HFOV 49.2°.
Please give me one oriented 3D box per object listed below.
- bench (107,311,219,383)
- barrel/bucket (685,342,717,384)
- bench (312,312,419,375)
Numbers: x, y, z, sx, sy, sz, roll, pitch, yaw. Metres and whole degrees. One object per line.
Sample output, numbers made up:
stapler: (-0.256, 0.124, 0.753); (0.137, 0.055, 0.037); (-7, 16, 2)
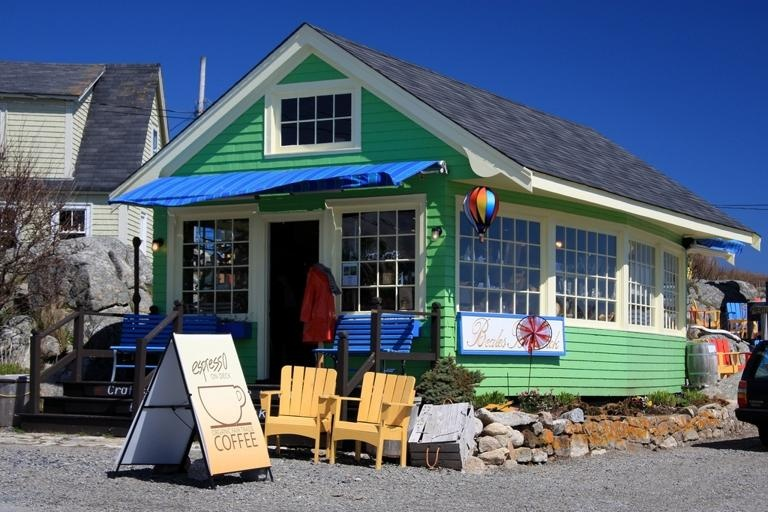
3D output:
bench: (-4.436, 1.833, 17.570); (2.071, 1.416, 0.877); (4, 5, -25)
barrel/bucket: (8.059, 2.707, 21.176); (0.740, 1.116, 0.443); (2, -4, -6)
bench: (-0.249, 1.612, 15.796); (1.685, 1.000, 1.043); (-2, 12, 23)
